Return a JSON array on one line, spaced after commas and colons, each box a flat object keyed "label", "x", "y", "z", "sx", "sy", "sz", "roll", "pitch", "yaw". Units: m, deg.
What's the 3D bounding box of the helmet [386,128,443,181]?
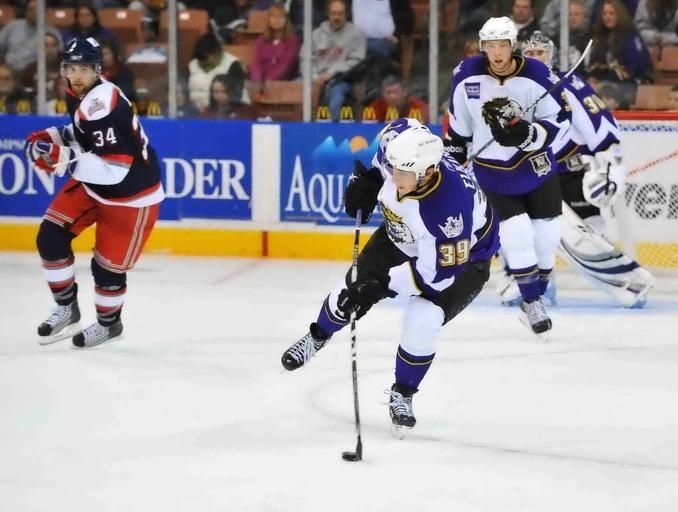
[{"label": "helmet", "x": 0.297, "y": -0.410, "z": 3.816, "sx": 0.210, "sy": 0.179, "sz": 0.174, "roll": -6, "pitch": 23, "yaw": -35}]

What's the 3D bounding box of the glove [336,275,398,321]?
[{"label": "glove", "x": 0.117, "y": 0.175, "z": 4.084, "sx": 0.245, "sy": 0.141, "sz": 0.096, "roll": -21, "pitch": -10, "yaw": 2}]

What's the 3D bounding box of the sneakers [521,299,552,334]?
[{"label": "sneakers", "x": 1.089, "y": 0.316, "z": 5.330, "sx": 0.092, "sy": 0.118, "sz": 0.281, "roll": -35, "pitch": 17, "yaw": 3}]

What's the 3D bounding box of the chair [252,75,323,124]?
[{"label": "chair", "x": -0.435, "y": -1.234, "z": 7.547, "sx": 0.437, "sy": 0.194, "sz": 0.335, "roll": -11, "pitch": 14, "yaw": -27}]

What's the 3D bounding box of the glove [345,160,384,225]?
[{"label": "glove", "x": 0.129, "y": -0.289, "z": 4.462, "sx": 0.234, "sy": 0.257, "sz": 0.110, "roll": 22, "pitch": 11, "yaw": 23}]

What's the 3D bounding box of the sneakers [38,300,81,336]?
[{"label": "sneakers", "x": -1.528, "y": 0.325, "z": 5.075, "sx": 0.100, "sy": 0.147, "sz": 0.333, "roll": 3, "pitch": 12, "yaw": 24}]

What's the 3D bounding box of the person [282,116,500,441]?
[{"label": "person", "x": 0.248, "y": 0.058, "z": 4.129, "sx": 0.736, "sy": 1.267, "sz": 0.545, "roll": 10, "pitch": 16, "yaw": 36}]

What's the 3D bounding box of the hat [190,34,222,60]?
[{"label": "hat", "x": -1.050, "y": -1.653, "z": 7.559, "sx": 0.172, "sy": 0.223, "sz": 0.210, "roll": 7, "pitch": 58, "yaw": 7}]

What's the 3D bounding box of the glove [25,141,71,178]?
[{"label": "glove", "x": -1.435, "y": -0.477, "z": 4.708, "sx": 0.227, "sy": 0.144, "sz": 0.096, "roll": 14, "pitch": 23, "yaw": 7}]

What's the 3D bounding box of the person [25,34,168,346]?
[{"label": "person", "x": -1.254, "y": -0.307, "z": 4.944, "sx": 0.661, "sy": 1.581, "sz": 0.364, "roll": -2, "pitch": 13, "yaw": -11}]

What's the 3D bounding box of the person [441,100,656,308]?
[{"label": "person", "x": 1.203, "y": -0.278, "z": 5.452, "sx": 1.240, "sy": 1.215, "sz": 0.663, "roll": -1, "pitch": 31, "yaw": 15}]

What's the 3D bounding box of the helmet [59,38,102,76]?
[{"label": "helmet", "x": -1.320, "y": -1.008, "z": 4.838, "sx": 0.154, "sy": 0.170, "sz": 0.198, "roll": 4, "pitch": 16, "yaw": 12}]
